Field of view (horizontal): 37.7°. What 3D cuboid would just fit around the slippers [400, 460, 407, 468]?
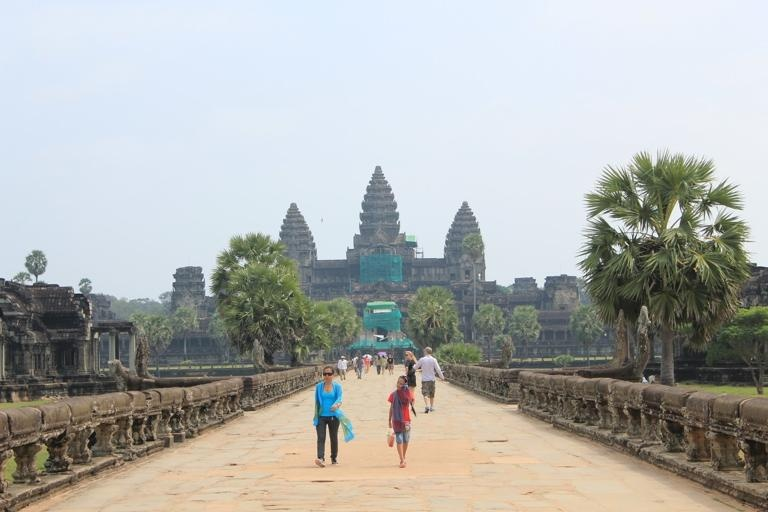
[{"bbox_3d":[0.486,5.131,27.658,0.152,0.167,0.395,0,-4,-2],"label":"slippers"}]

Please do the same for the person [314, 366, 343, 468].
[{"bbox_3d":[-1.413,4.045,28.388,0.698,2.467,1.298,-2,-7,-4],"label":"person"}]
